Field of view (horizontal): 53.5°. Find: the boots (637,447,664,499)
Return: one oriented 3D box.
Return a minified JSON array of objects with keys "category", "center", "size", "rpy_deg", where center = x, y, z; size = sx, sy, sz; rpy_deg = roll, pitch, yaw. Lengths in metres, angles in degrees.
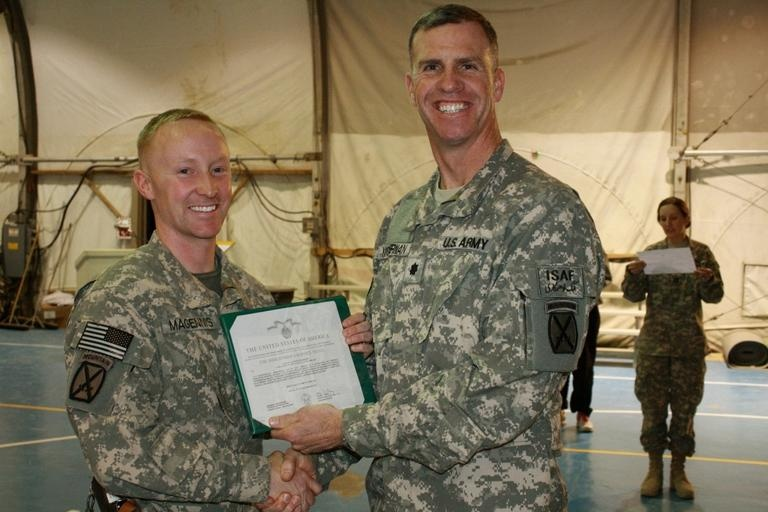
[{"category":"boots","center":[2.750,2.213,7.807],"size":[0.180,0.409,0.458],"rpy_deg":[0,7,39]}]

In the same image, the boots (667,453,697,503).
[{"category":"boots","center":[3.039,2.231,7.735],"size":[0.247,0.357,0.359],"rpy_deg":[5,12,21]}]
